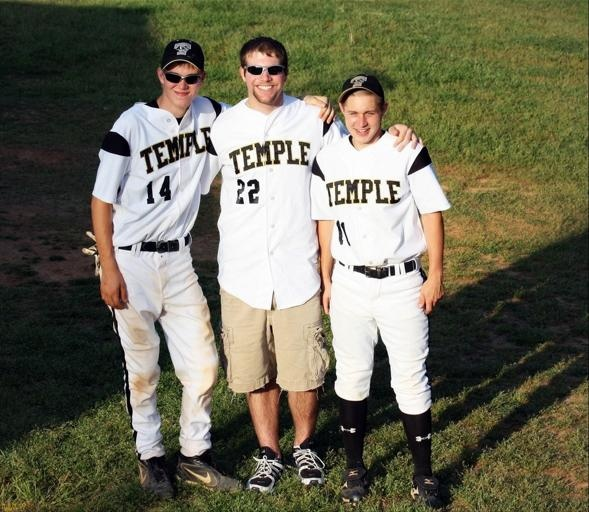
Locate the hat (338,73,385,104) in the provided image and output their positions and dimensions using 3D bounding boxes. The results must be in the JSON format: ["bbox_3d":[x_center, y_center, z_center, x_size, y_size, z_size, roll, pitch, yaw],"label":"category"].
[{"bbox_3d":[0.570,-1.360,6.792,0.370,0.229,0.310,-18,30,-35],"label":"hat"}]

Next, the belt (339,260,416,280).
[{"bbox_3d":[0.701,0.104,6.884,0.624,0.130,0.160,2,24,5],"label":"belt"}]

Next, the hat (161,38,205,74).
[{"bbox_3d":[-0.960,-1.680,7.017,0.357,0.244,0.305,-4,24,-9],"label":"hat"}]

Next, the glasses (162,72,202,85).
[{"bbox_3d":[-0.939,-1.479,6.938,0.286,0.109,0.070,-3,24,-6],"label":"glasses"}]

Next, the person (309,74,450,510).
[{"bbox_3d":[0.739,0.300,6.905,1.084,3.353,1.341,-3,24,-5],"label":"person"}]

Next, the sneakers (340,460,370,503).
[{"bbox_3d":[0.510,1.918,7.078,0.172,0.149,0.340,-1,24,7],"label":"sneakers"}]

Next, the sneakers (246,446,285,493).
[{"bbox_3d":[-0.255,1.878,7.265,0.181,0.226,0.504,2,6,9],"label":"sneakers"}]

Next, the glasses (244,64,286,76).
[{"bbox_3d":[-0.247,-1.551,6.958,0.329,0.091,0.078,-2,24,-4],"label":"glasses"}]
